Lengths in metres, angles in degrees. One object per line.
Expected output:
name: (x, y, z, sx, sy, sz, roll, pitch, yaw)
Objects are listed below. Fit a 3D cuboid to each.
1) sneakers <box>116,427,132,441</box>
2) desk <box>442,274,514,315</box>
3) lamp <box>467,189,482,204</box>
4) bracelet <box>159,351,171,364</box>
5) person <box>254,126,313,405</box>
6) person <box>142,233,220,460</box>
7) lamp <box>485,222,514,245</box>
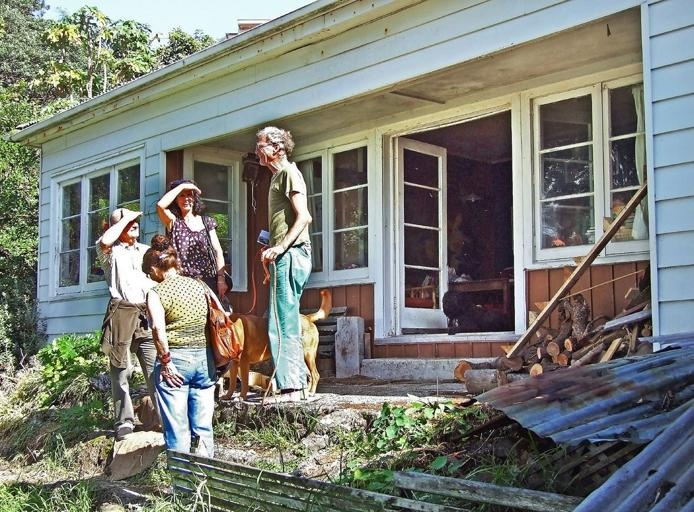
sneakers: (-1.917, 1.525, 5.548, 0.086, 0.122, 0.045, 23, -12, 7)
desk: (1.802, 0.556, 8.594, 0.843, 0.474, 1.182, -2, -3, 2)
lamp: (2.022, -0.960, 10.295, 0.190, 0.211, 0.091, 6, 2, -9)
bracelet: (-1.179, 0.665, 4.204, 0.072, 0.060, 0.067, -8, -3, 36)
person: (-0.531, 0.046, 5.490, 0.434, 2.376, 0.522, -1, -3, -8)
person: (-1.104, 0.608, 4.364, 0.498, 1.526, 0.324, -1, -4, -22)
lamp: (2.438, -0.359, 10.276, 0.527, 0.553, 0.301, -1, 1, 22)
